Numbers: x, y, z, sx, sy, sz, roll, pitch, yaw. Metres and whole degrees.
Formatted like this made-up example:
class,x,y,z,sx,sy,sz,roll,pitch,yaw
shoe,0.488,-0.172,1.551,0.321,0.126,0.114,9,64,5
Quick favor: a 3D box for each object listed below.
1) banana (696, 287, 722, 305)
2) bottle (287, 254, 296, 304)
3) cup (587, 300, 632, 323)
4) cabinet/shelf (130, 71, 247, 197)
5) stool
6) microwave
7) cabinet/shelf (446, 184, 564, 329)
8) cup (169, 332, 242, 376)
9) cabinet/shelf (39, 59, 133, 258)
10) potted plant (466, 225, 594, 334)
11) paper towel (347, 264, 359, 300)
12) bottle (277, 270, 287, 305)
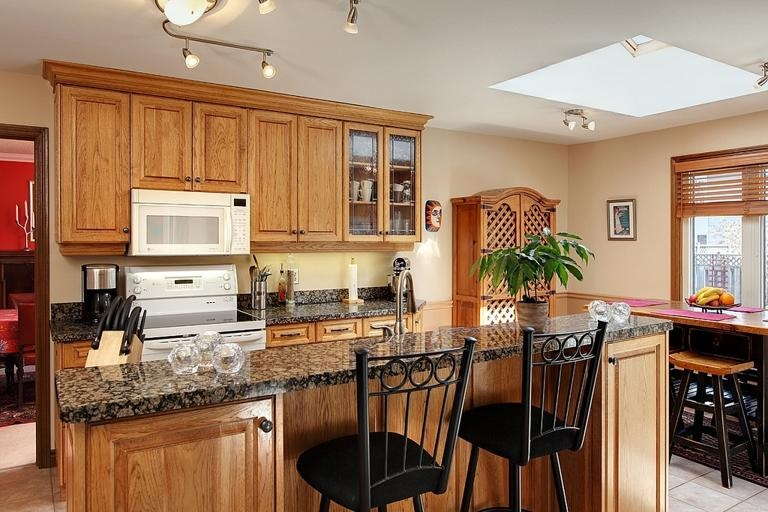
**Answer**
class,x,y,z,sx,sy,sz,roll,pitch,yaw
banana,2.862,0.360,4.731,0.215,0.135,0.071,-9,6,-4
bottle,-0.907,0.234,5.188,0.099,0.477,0.164,-2,1,-12
cup,1.441,0.320,3.431,0.201,0.093,0.194,2,0,0
cabinet/shelf,-1.704,-0.920,4.679,0.948,0.892,0.462,0,-10,-27
stool,2.683,1.312,4.402,0.553,0.887,0.617,-5,5,-39
microwave,-1.688,-0.184,4.719,0.957,0.586,0.598,-2,-13,-15
cabinet/shelf,1.569,-0.137,6.264,0.865,1.737,0.415,5,43,16
cup,-0.856,0.480,2.593,0.338,0.191,0.108,-1,1,-2
cabinet/shelf,-2.322,-0.737,4.354,0.623,1.406,0.319,3,7,-13
potted plant,0.907,0.236,3.417,0.588,0.468,0.591,-3,-5,-38
paper towel,-0.321,0.269,5.435,0.115,0.382,0.259,-1,1,-4
bottle,-0.999,0.303,5.176,0.083,0.321,0.103,-2,1,-13
